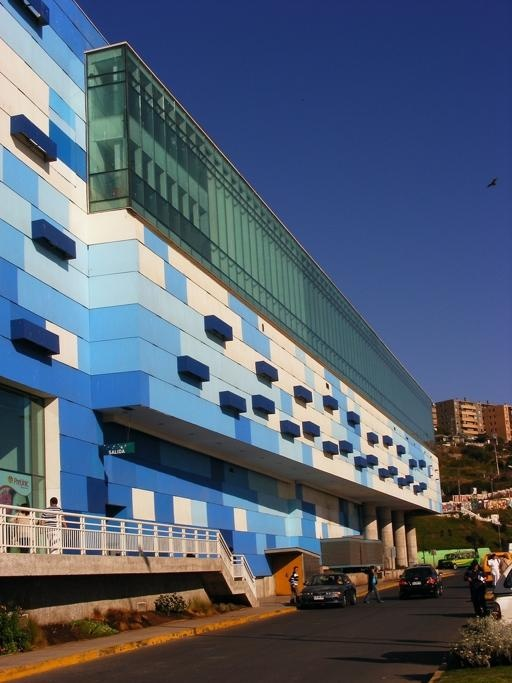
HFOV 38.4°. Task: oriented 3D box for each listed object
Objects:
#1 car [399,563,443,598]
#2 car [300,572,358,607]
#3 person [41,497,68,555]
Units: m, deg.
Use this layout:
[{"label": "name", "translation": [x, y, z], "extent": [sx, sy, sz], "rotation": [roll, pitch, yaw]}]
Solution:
[{"label": "car", "translation": [6.949, 10.120, 30.938], "extent": [1.017, 0.735, 2.184], "rotation": [-2, -3, 15]}, {"label": "car", "translation": [2.702, 9.552, 28.043], "extent": [1.795, 1.177, 2.529], "rotation": [-7, -18, 12]}, {"label": "person", "translation": [-4.674, 4.222, 16.968], "extent": [0.515, 1.421, 3.066], "rotation": [2, -19, -16]}]
